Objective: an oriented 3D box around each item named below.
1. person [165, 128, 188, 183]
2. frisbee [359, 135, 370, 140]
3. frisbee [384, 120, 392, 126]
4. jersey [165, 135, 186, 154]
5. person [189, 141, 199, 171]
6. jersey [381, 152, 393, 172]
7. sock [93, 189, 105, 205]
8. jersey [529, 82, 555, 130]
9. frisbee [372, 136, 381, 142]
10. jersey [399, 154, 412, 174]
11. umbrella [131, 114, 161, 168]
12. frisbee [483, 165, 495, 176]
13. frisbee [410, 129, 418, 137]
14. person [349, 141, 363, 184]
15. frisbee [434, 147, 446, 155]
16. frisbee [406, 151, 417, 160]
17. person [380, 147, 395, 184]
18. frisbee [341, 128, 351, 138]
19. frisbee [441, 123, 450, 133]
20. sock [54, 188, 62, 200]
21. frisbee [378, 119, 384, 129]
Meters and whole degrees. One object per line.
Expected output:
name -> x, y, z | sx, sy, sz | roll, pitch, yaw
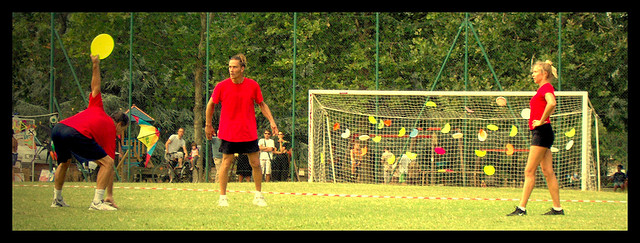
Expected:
person -> -8.406, 1.880, 38.793 | 1.182, 3.194, 1.123 | 4, -10, -11
frisbee -> 2.539, 0.877, 38.672 | 0.548, 0.245, 0.402 | 1, -8, 2
frisbee -> 3.953, 0.033, 38.912 | 0.336, 0.312, 0.490 | -1, -9, 18
jersey -> -8.538, 1.328, 39.207 | 1.106, 1.108, 0.619 | 38, -11, -25
person -> -7.443, 2.082, 39.226 | 0.459, 1.613, 0.756 | 4, -10, -11
jersey -> 3.802, 2.249, 37.838 | 0.586, 1.133, 0.488 | 1, -10, 9
sock -> -10.161, 3.436, 30.505 | 0.441, 0.724, 0.222 | 3, -10, -4
jersey -> 10.374, -0.777, 31.339 | 1.391, 1.766, 2.213 | 2, -13, 15
frisbee -> 3.263, 0.956, 38.418 | 0.432, 0.290, 0.223 | 5, -10, -24
jersey -> 4.796, 2.431, 37.969 | 0.851, 0.910, 0.294 | 8, -5, 29
umbrella -> -10.714, 1.290, 40.867 | 1.458, 2.932, 3.788 | 4, -9, -13
frisbee -> 9.634, 2.764, 37.951 | 0.655, 0.456, 0.140 | 16, 7, 20
frisbee -> 5.438, 0.628, 38.679 | 0.470, 0.415, 0.212 | -14, -61, 23
person -> 2.047, 2.323, 38.208 | 0.673, 2.199, 0.430 | 3, -10, -5
frisbee -> 6.987, 1.641, 39.078 | 0.584, 0.357, 0.356 | 0, -9, 7
frisbee -> 5.149, 1.875, 37.830 | 0.458, 0.248, 0.438 | 21, -10, -5
person -> 3.877, 2.569, 37.826 | 0.699, 1.864, 0.485 | 3, -10, -5
frisbee -> 1.452, 0.612, 38.677 | 0.467, 0.545, 0.326 | 1, -9, 4
frisbee -> 7.342, 0.331, 39.107 | 0.470, 0.502, 0.561 | 0, -9, 8
sock -> -12.099, 3.349, 30.747 | 0.332, 0.487, 0.299 | 5, -10, -16
frisbee -> 3.545, 0.103, 38.874 | 0.308, 0.459, 0.359 | 3, -9, -9
